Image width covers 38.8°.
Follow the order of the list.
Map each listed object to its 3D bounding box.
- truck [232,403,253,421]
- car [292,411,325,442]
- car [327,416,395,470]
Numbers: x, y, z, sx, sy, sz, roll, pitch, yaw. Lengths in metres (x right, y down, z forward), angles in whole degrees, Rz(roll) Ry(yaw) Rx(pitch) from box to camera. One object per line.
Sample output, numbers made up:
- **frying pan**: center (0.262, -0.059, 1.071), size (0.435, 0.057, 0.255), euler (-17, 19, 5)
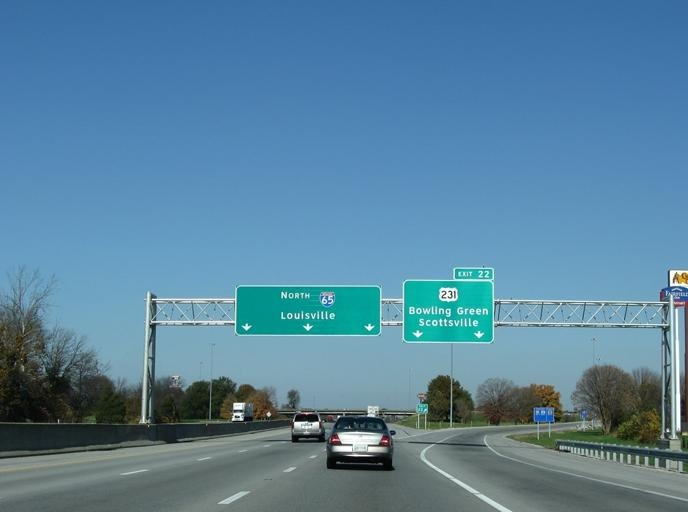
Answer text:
- **truck**: center (-13.673, 20.975, 131.204), size (2.049, 2.806, 7.472), euler (-1, -13, 0)
- **car**: center (-2.414, 11.586, 66.120), size (2.133, 2.094, 2.308), euler (-1, -12, -1)
- **car**: center (0.716, 7.941, 41.941), size (2.695, 1.984, 1.116), euler (1, -11, -11)
